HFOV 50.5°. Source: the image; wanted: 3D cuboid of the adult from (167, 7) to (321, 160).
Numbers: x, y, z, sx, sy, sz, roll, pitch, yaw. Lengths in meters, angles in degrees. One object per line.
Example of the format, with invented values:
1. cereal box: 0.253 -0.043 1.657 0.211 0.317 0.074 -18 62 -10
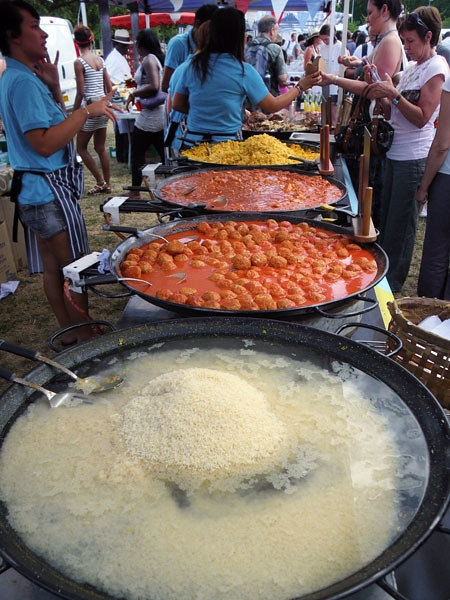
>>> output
1. adult: 0.076 -1.670 3.711 1.003 1.022 0.473 0 30 -3

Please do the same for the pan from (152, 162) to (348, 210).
1. pan: 0.157 -0.682 2.867 1.071 0.062 0.910 3 28 2

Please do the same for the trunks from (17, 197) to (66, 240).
1. trunks: -1.088 -0.479 2.977 0.299 0.205 0.208 11 35 24

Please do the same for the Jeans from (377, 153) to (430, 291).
1. Jeans: 1.468 -0.779 4.043 0.323 1.525 0.388 -20 34 -6

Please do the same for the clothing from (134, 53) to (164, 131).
1. clothing: -0.966 -2.672 6.190 0.492 0.922 0.436 -16 32 -33
